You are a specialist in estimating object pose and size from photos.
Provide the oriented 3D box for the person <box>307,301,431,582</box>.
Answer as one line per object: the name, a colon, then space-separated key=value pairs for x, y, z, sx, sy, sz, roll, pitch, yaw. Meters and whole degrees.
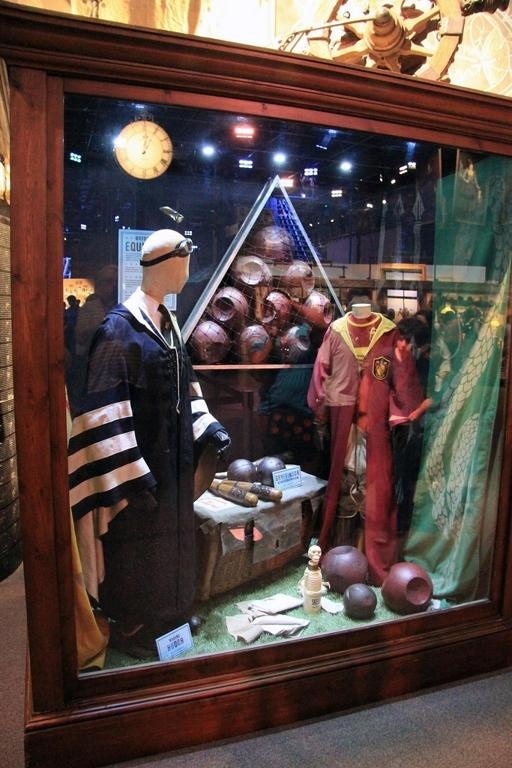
person: x=0.418 y=0.209 z=2.137 sx=0.475 sy=1.033 sz=0.192 roll=4 pitch=7 yaw=0

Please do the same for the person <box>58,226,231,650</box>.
person: x=-0.339 y=0.186 z=1.645 sx=0.371 sy=1.252 sz=0.135 roll=-3 pitch=10 yaw=-41

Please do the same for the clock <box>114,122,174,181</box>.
clock: x=-0.322 y=-0.653 z=1.601 sx=0.170 sy=0.166 sz=0.022 roll=9 pitch=4 yaw=-37

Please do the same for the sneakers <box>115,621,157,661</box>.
sneakers: x=-0.364 y=0.773 z=1.702 sx=0.146 sy=0.083 sz=0.039 roll=14 pitch=-9 yaw=-30

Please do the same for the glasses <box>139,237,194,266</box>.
glasses: x=-0.260 y=-0.374 z=1.670 sx=0.120 sy=0.036 sz=0.088 roll=-21 pitch=15 yaw=-9
